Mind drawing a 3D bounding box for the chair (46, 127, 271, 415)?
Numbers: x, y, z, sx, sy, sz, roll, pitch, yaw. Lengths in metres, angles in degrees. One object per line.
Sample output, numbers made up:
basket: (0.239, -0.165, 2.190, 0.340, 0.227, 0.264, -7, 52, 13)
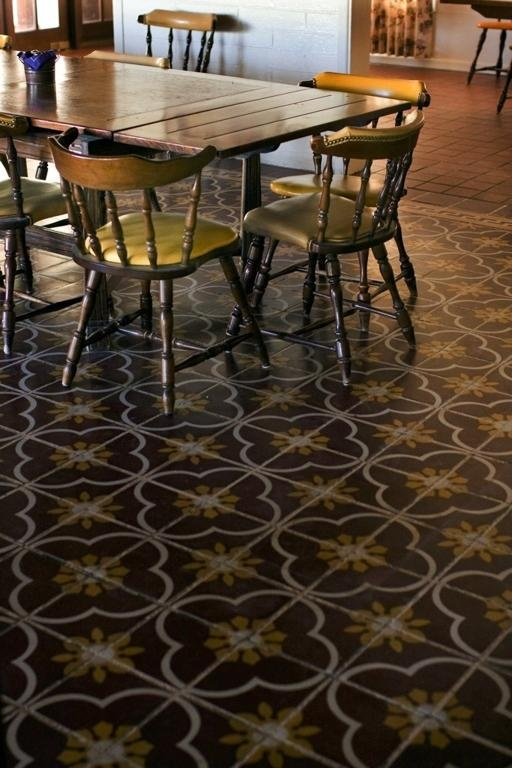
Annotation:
chair: (-0.344, -0.422, 2.374, 0.685, 0.820, 0.645, 9, 26, 16)
